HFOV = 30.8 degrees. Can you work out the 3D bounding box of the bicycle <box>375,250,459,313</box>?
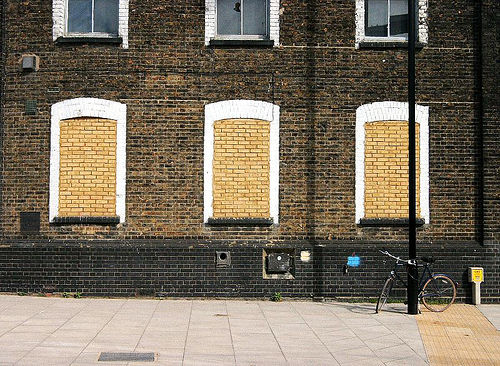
[{"bbox_3d":[3.961,2.453,21.817,2.148,1.409,0.988,-6,-9,30],"label":"bicycle"}]
